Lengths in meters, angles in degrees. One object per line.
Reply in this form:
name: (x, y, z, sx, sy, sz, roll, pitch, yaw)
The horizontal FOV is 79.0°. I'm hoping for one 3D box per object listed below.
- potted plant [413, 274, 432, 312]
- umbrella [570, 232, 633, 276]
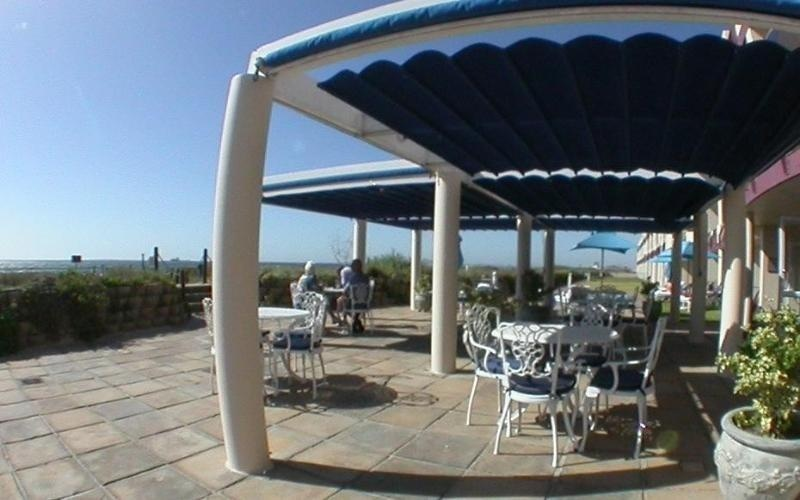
potted plant: (0.726, 1.402, 15.294, 0.521, 1.038, 0.596, -1, 10, -4)
umbrella: (7.876, 0.319, 19.364, 2.454, 2.148, 2.540, -1, 1, 38)
